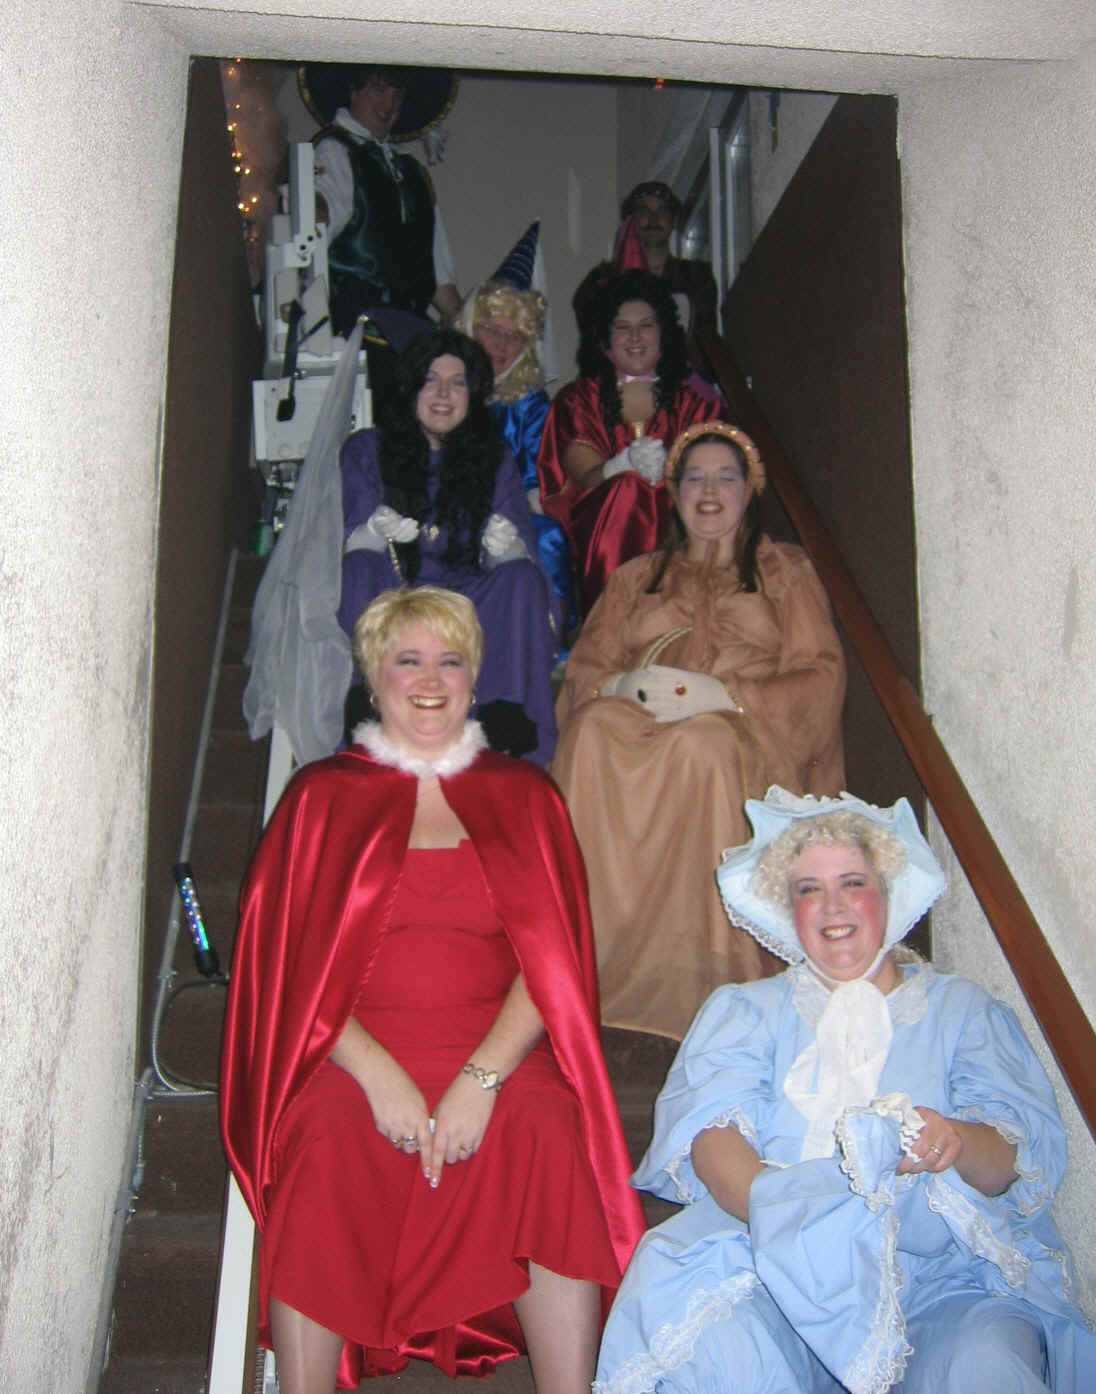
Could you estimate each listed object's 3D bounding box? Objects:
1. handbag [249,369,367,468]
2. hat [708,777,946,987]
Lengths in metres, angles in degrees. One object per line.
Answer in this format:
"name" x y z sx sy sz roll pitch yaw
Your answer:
"handbag" -0.763 -0.976 4.288 0.392 0.128 0.313 -6 7 4
"hat" 0.415 0.205 1.859 0.268 0.107 0.271 1 16 33
